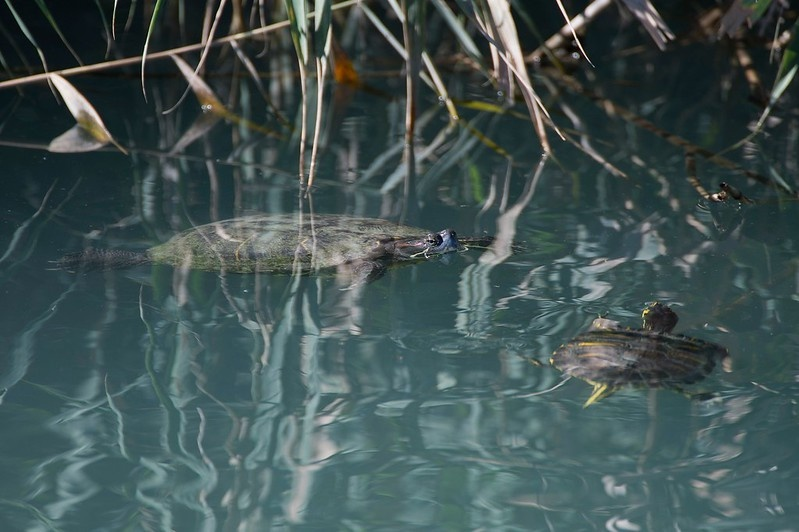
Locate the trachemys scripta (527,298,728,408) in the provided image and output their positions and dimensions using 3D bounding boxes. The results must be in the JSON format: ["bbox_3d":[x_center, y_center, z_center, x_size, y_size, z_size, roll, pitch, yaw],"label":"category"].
[{"bbox_3d":[1.302,0.467,4.809,0.823,0.187,0.805,13,33,15],"label":"trachemys scripta"}]
